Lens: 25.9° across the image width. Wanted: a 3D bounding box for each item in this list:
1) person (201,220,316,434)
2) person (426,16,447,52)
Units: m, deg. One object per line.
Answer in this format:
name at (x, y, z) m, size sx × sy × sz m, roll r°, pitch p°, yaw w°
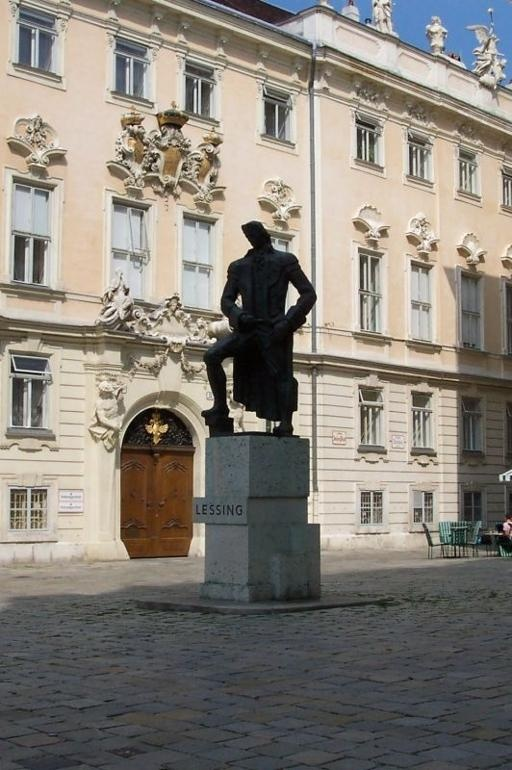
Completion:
person at (0.027, -0.633, 12.265) m, size 1.216 × 2.472 × 0.731 m, roll 0°, pitch -6°, yaw 2°
person at (5.338, -10.432, 33.316) m, size 0.496 × 1.510 × 1.116 m, roll -1°, pitch -6°, yaw 9°
